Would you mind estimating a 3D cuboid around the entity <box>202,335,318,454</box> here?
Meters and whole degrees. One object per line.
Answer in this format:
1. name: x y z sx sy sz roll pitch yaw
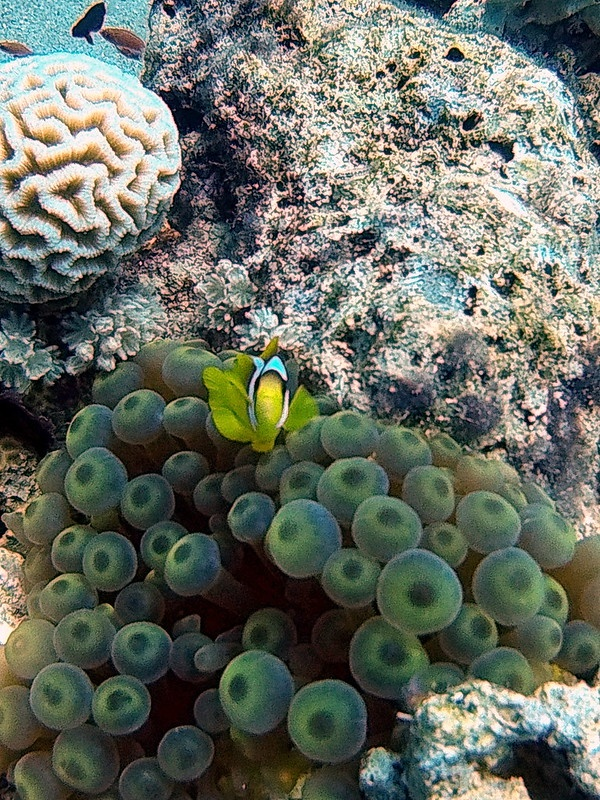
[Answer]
1. entity: -0.116 0.003 2.489 0.242 0.362 0.198 23 70 0
